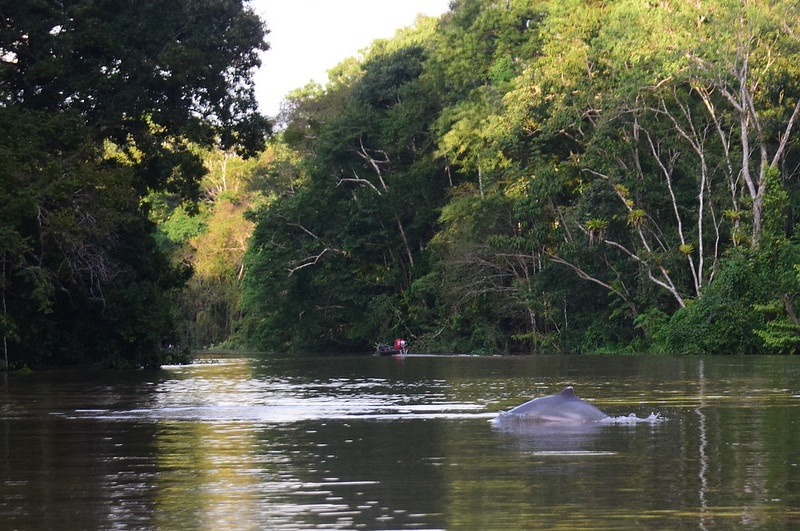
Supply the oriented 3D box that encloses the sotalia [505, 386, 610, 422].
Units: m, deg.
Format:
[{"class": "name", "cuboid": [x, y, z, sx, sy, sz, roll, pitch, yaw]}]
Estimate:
[{"class": "sotalia", "cuboid": [4.760, 4.202, 47.835, 3.020, 1.082, 0.615, -2, -8, 4]}]
